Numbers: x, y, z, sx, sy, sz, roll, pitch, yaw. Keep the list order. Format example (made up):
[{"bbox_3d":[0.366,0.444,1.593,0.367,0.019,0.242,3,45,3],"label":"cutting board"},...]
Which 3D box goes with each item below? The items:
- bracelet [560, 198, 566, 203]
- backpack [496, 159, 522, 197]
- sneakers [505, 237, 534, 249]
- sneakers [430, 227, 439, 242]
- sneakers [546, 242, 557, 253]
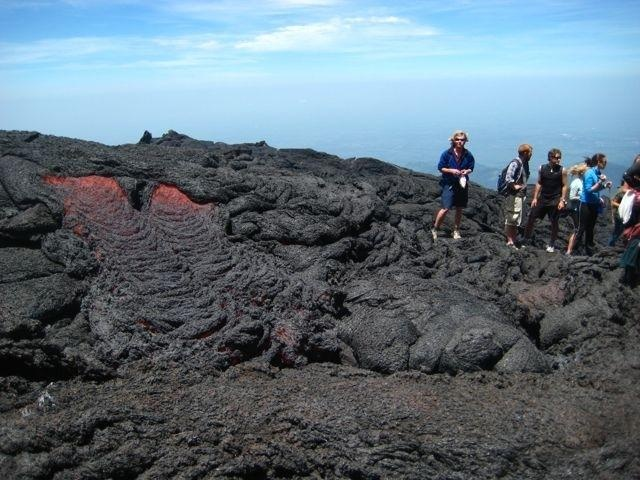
[{"bbox_3d":[5.646,-0.913,12.627,0.123,0.101,0.040,-1,-24,-12],"label":"bracelet"},{"bbox_3d":[4.360,-1.469,12.592,0.248,0.877,0.575,-17,23,-41],"label":"backpack"},{"bbox_3d":[5.028,0.082,13.689,0.476,0.159,0.132,-14,34,-22],"label":"sneakers"},{"bbox_3d":[2.768,-0.113,13.091,0.139,0.155,0.398,3,43,3],"label":"sneakers"},{"bbox_3d":[5.826,0.192,13.620,0.227,0.247,0.709,-3,-7,26],"label":"sneakers"}]
